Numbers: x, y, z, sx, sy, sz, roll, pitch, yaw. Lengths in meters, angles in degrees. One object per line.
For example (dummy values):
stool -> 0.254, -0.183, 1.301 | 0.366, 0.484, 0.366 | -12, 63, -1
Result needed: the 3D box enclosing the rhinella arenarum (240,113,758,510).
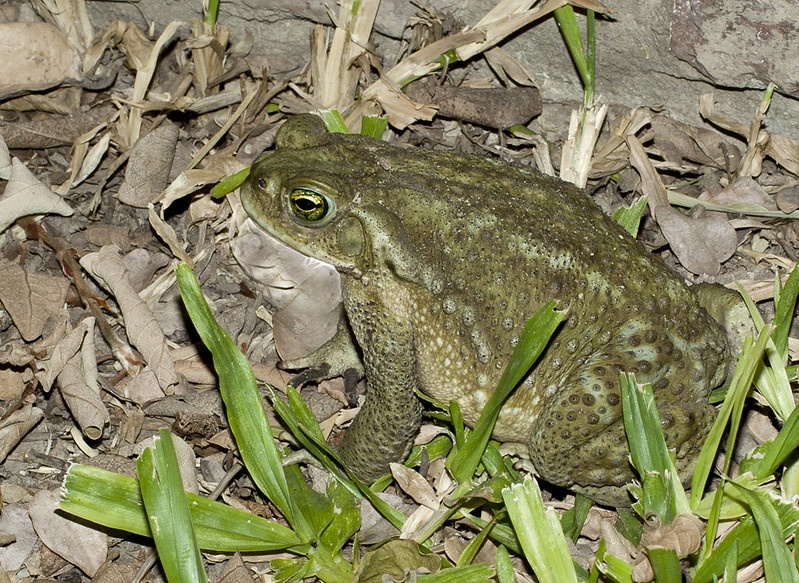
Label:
rhinella arenarum -> 0.369, 0.138, 3.631 | 1.989, 1.236, 1.355 | 8, 43, 7
